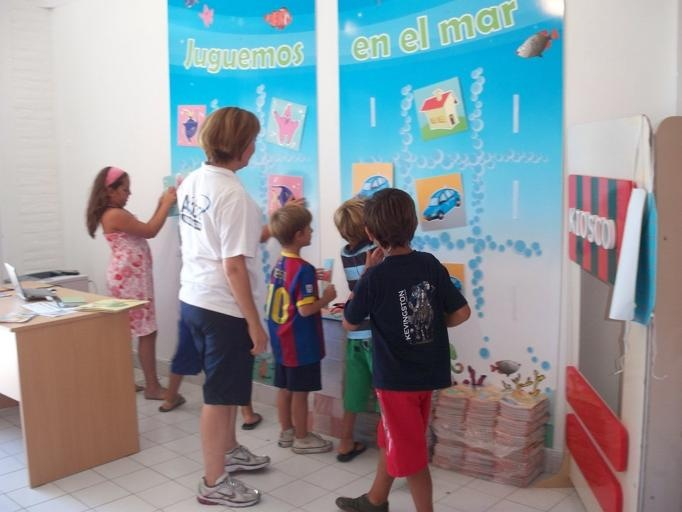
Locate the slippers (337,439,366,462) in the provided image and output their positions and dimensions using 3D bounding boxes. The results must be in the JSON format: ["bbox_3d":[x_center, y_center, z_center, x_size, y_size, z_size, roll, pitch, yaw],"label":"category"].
[{"bbox_3d":[0.060,1.082,2.918,0.066,0.071,0.181,9,14,39],"label":"slippers"}]

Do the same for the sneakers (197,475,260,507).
[{"bbox_3d":[-0.536,1.140,2.549,0.319,0.151,0.129,1,1,-9],"label":"sneakers"}]

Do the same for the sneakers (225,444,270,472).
[{"bbox_3d":[-0.519,1.089,2.798,0.267,0.122,0.104,1,-1,-11],"label":"sneakers"}]

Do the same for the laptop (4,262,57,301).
[{"bbox_3d":[-1.915,0.086,3.183,0.268,0.198,0.323,-2,14,-34],"label":"laptop"}]

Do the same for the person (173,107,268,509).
[{"bbox_3d":[-0.569,0.245,2.485,0.418,1.901,0.379,-3,10,-8],"label":"person"}]

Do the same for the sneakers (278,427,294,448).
[{"bbox_3d":[-0.322,1.061,3.019,0.058,0.067,0.127,4,5,28],"label":"sneakers"}]

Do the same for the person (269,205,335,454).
[{"bbox_3d":[-0.218,0.413,2.893,0.404,1.413,0.316,0,10,7],"label":"person"}]

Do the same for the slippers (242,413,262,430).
[{"bbox_3d":[-0.574,1.051,3.270,0.053,0.041,0.138,7,17,17],"label":"slippers"}]

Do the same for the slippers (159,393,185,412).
[{"bbox_3d":[-1.161,1.016,3.592,0.073,0.071,0.196,5,11,29],"label":"slippers"}]

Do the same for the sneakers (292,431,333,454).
[{"bbox_3d":[-0.168,1.072,2.991,0.228,0.105,0.097,0,0,-10],"label":"sneakers"}]
